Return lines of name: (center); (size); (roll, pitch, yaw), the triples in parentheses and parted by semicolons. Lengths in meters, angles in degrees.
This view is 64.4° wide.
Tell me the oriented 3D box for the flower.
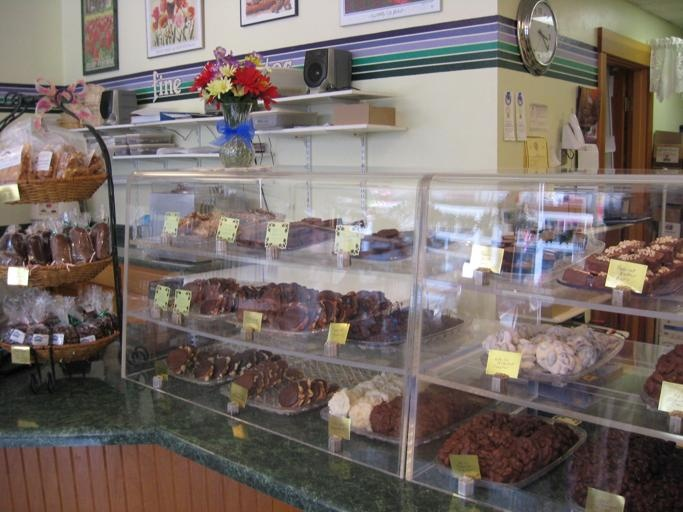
flower: (-0.449, -0.698, 2.242); (0.280, 0.246, 0.290); (5, 12, -15)
